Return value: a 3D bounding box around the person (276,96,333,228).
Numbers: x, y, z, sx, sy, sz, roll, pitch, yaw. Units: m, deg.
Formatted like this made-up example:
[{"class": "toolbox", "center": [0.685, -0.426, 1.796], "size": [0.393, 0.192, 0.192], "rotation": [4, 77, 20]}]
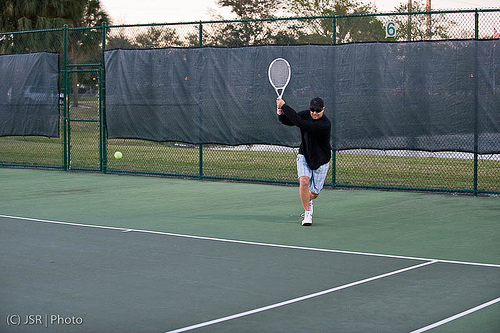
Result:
[{"class": "person", "center": [1.041, -0.104, 9.053], "size": [0.901, 2.330, 0.849], "rotation": [1, 7, 9]}]
